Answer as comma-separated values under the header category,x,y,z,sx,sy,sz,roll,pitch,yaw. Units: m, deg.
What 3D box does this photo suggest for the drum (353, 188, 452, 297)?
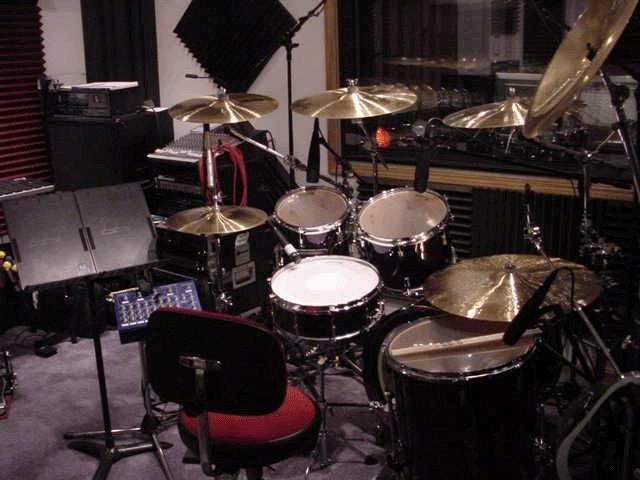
category,x,y,z,sx,sy,sz,roll,pitch,yaw
drum,0.450,0.073,3.167,0.445,0.327,0.451,-12,17,4

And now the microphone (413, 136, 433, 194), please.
category,x,y,z,sx,sy,sz,roll,pitch,yaw
microphone,0.468,-0.338,2.713,0.088,0.314,0.070,9,1,21

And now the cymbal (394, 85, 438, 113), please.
category,x,y,z,sx,sy,sz,roll,pitch,yaw
cymbal,0.604,-0.875,3.606,0.264,0.267,0.063,9,41,27

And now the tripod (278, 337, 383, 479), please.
category,x,y,z,sx,sy,sz,roll,pitch,yaw
tripod,0.061,0.825,3.248,0.800,0.527,0.616,-2,-3,9

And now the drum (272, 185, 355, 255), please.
category,x,y,z,sx,sy,sz,roll,pitch,yaw
drum,-0.043,-0.105,3.348,0.447,0.289,0.402,1,25,2

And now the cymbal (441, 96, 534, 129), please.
category,x,y,z,sx,sy,sz,roll,pitch,yaw
cymbal,0.800,-0.610,2.838,0.371,0.159,0.272,10,27,20

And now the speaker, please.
category,x,y,z,sx,sy,sz,roll,pitch,yaw
speaker,-1.538,-0.665,4.508,0.808,0.597,0.789,-2,4,19

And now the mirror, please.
category,x,y,z,sx,sy,sz,roll,pitch,yaw
mirror,0.867,-0.763,3.143,1.444,0.996,0.034,5,13,32

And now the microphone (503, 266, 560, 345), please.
category,x,y,z,sx,sy,sz,roll,pitch,yaw
microphone,0.677,0.220,1.865,0.138,0.272,0.081,-11,27,-22
